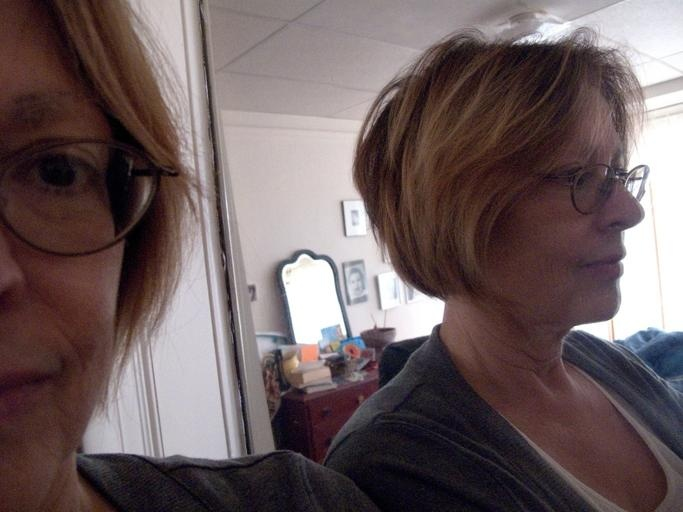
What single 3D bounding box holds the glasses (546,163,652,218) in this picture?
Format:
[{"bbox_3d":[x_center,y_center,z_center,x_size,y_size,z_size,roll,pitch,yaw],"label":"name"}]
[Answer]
[{"bbox_3d":[0.402,-0.111,0.923,0.125,0.044,0.128,-2,-7,-39],"label":"glasses"}]
